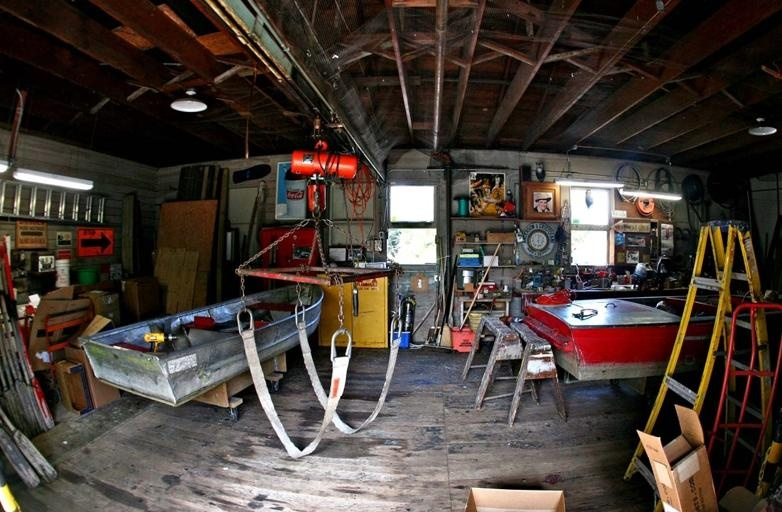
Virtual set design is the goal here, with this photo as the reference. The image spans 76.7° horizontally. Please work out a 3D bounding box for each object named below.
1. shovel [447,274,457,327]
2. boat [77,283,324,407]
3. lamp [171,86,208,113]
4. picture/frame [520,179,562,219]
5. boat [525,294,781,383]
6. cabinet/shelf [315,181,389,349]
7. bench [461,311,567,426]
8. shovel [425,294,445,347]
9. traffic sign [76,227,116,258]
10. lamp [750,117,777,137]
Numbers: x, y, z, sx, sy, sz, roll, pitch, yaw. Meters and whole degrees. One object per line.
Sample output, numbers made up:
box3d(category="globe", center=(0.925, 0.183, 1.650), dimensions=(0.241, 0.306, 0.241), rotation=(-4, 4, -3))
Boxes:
box3d(category="shovel", center=(1.129, 0.803, 9.134), dimensions=(0.188, 0.917, 0.351), rotation=(-1, 4, 7))
box3d(category="boat", center=(-2.278, 1.113, 7.230), dimensions=(1.530, 0.598, 2.766), rotation=(4, 11, 31))
box3d(category="lamp", center=(-2.984, -2.222, 7.306), dimensions=(0.426, 0.388, 0.390), rotation=(0, -6, -19))
box3d(category="picture/frame", center=(2.811, -1.055, 9.318), dimensions=(0.839, 0.728, 0.325), rotation=(1, -2, -3))
box3d(category="boat", center=(3.584, 1.136, 7.166), dimensions=(2.693, 0.845, 1.295), rotation=(1, -4, -10))
box3d(category="cabinet/shelf", center=(-0.656, 0.116, 9.027), dimensions=(1.225, 3.040, 1.126), rotation=(-1, 4, -2))
box3d(category="bench", center=(1.725, 1.543, 7.535), dimensions=(1.160, 1.322, 1.620), rotation=(3, 1, -11))
box3d(category="shovel", center=(0.819, 1.186, 9.094), dimensions=(0.235, 0.817, 0.501), rotation=(0, 4, 23))
box3d(category="traffic sign", center=(-5.634, -0.266, 9.401), dimensions=(0.088, 0.426, 0.654), rotation=(-3, -3, 31))
box3d(category="lamp", center=(5.797, -2.057, 7.777), dimensions=(0.473, 0.252, 0.281), rotation=(-2, 4, -13))
